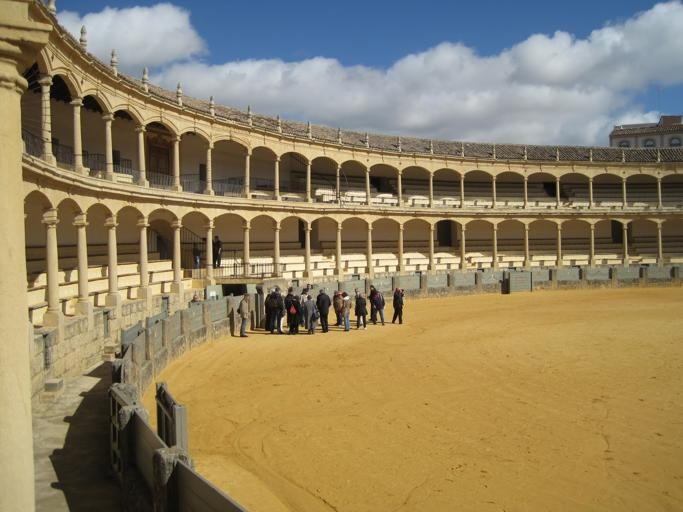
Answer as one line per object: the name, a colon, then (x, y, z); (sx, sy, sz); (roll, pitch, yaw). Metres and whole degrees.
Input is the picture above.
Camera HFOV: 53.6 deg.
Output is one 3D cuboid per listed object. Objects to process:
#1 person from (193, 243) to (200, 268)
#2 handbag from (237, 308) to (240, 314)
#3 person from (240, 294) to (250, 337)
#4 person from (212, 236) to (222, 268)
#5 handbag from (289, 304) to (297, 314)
person: (-7.373, -0.021, 34.636); (0.388, 1.428, 3.103); (-3, -3, -12)
handbag: (-4.017, 2.146, 26.179); (0.042, 0.189, 0.194); (-2, 1, -24)
person: (-3.699, 2.258, 25.817); (0.444, 1.588, 1.220); (-3, -2, -9)
person: (-6.457, -0.134, 34.947); (0.394, 1.566, 1.568); (-3, -3, -10)
handbag: (-1.873, 2.042, 26.067); (0.187, 0.373, 0.432); (-5, -3, 31)
